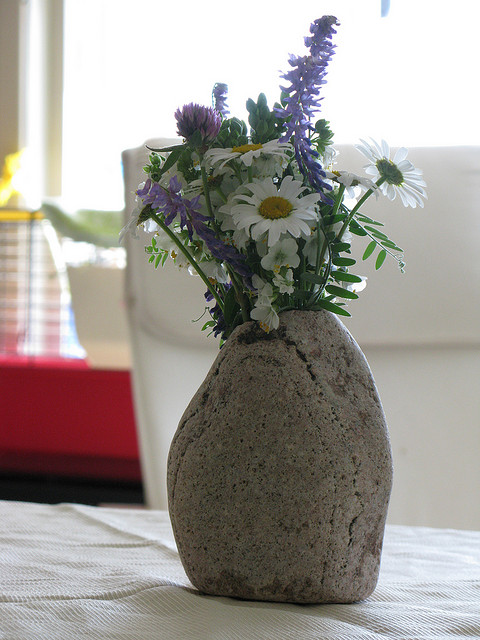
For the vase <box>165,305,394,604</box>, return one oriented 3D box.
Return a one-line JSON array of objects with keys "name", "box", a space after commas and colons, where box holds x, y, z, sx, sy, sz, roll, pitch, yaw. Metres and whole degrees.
[{"name": "vase", "box": [0.034, 0.108, 0.602, 0.175, 0.217, 0.137, 0, -7, 20]}]
